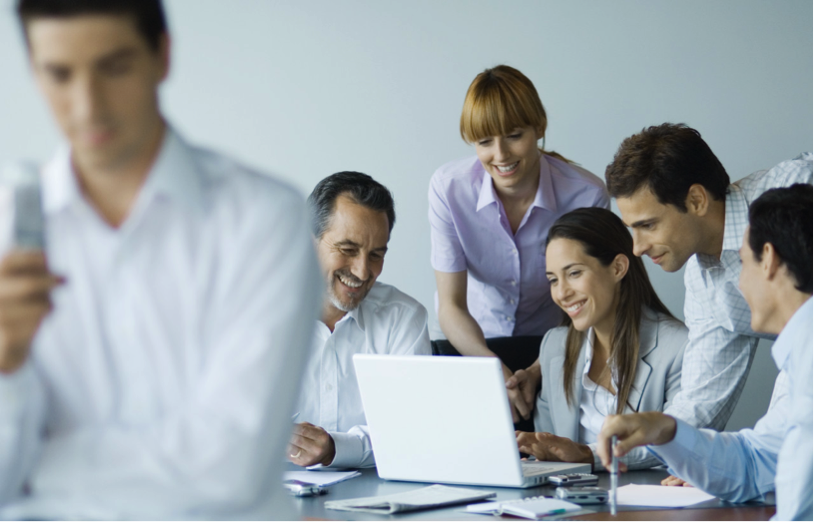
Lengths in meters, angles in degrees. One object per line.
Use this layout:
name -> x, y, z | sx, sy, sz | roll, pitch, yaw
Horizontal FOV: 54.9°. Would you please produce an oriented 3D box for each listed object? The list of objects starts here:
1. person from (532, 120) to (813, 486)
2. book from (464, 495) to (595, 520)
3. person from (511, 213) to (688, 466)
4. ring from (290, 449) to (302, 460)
person -> 1.078, -0.054, 2.853 | 0.901, 1.160, 0.787 | -13, 1, 4
book -> 0.265, 0.556, 1.773 | 0.257, 0.024, 0.137 | -1, 1, 20
person -> 0.660, 0.293, 2.637 | 0.648, 0.919, 0.635 | -2, 2, 37
ring -> -0.310, 0.534, 2.156 | 0.021, 0.029, 0.008 | 10, 9, 20
